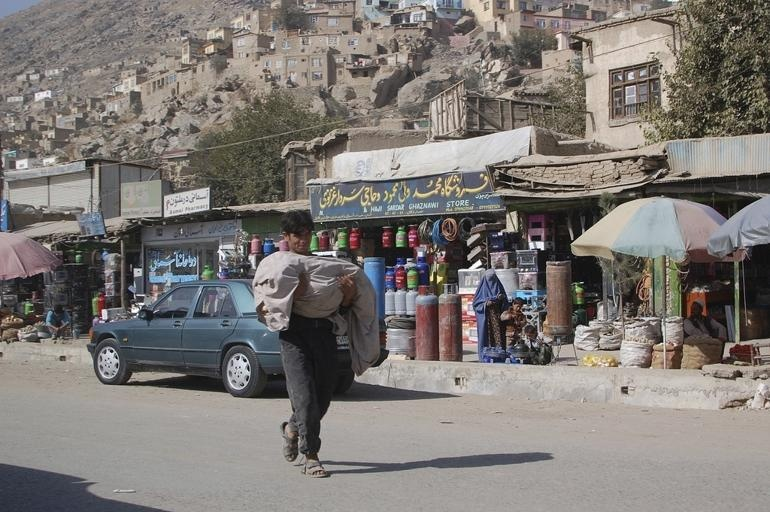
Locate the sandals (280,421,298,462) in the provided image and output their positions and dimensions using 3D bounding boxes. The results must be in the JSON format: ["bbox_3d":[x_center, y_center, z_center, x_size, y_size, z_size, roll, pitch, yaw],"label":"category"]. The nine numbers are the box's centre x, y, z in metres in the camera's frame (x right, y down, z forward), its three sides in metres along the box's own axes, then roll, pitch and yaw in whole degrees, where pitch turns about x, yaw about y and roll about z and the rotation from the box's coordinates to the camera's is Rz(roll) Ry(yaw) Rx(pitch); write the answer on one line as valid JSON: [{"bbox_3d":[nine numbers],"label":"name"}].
[{"bbox_3d":[-1.657,3.160,19.127,0.261,0.679,0.283,-8,6,-38],"label":"sandals"}]

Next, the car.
[{"bbox_3d":[-3.572,1.728,24.342,5.690,1.937,2.674,1,0,34],"label":"car"}]

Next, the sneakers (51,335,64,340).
[{"bbox_3d":[-9.685,2.404,33.276,0.245,0.085,0.158,3,-3,-4],"label":"sneakers"}]

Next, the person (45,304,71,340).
[{"bbox_3d":[-9.817,1.925,33.666,0.710,0.990,1.150,-3,15,-17],"label":"person"}]
